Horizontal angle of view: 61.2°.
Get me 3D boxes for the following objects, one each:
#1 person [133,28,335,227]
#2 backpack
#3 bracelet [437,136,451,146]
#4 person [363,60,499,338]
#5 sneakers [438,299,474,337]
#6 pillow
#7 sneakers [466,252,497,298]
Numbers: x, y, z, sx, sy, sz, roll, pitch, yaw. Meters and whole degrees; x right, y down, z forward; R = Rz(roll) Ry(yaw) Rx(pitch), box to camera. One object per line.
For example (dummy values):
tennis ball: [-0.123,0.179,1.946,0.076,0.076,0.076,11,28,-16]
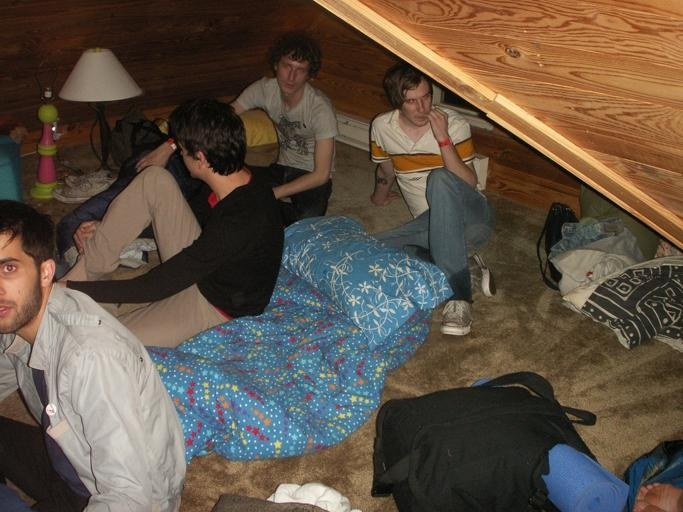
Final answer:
person: [-0.519,-0.753,3.494,1.034,1.039,0.983,11,39,8]
backpack: [1.284,-0.037,3.431,0.222,0.439,0.418,-4,33,13]
bracelet: [0.561,-0.622,3.115,0.057,0.022,0.054,-23,9,-10]
person: [0.326,-0.395,3.169,0.926,1.175,1.245,-12,33,4]
sneakers: [0.612,0.292,3.022,0.146,0.111,0.319,8,26,20]
pillow: [0.025,0.040,2.835,0.501,0.223,0.806,-28,50,-31]
sneakers: [0.809,0.110,3.365,0.095,0.093,0.299,-35,29,19]
